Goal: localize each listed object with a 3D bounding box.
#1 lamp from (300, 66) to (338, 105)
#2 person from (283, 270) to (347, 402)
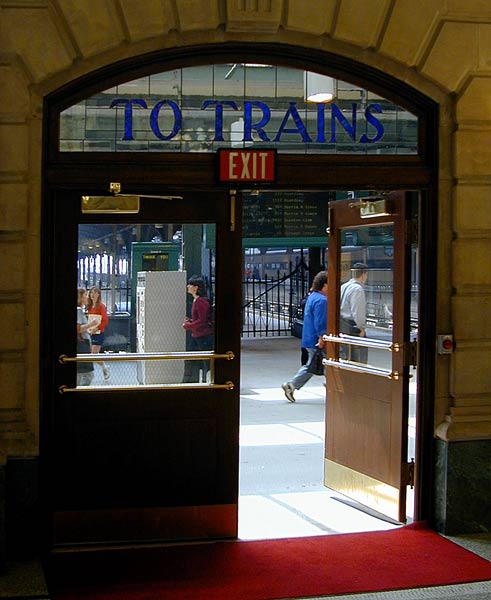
[{"bbox_3d":[0.469,-1.344,3.904,0.171,0.202,0.167,6,3,34],"label":"lamp"},{"bbox_3d":[0.731,0.474,7.584,0.519,1.626,1.560,0,1,6],"label":"person"}]
